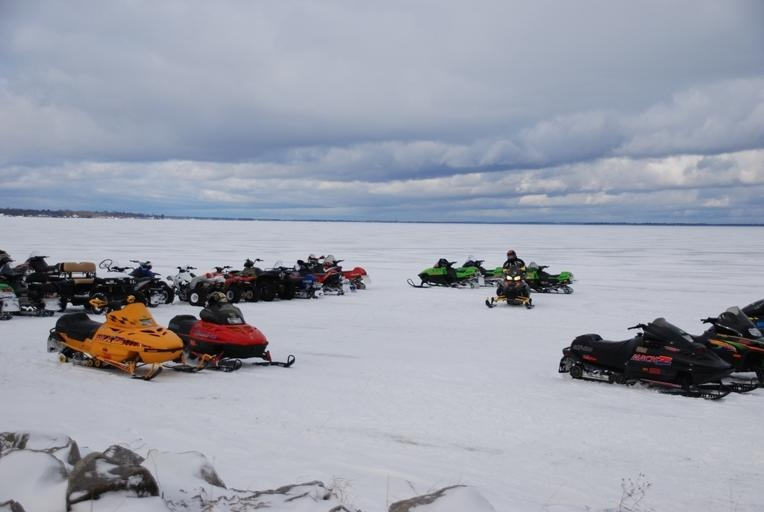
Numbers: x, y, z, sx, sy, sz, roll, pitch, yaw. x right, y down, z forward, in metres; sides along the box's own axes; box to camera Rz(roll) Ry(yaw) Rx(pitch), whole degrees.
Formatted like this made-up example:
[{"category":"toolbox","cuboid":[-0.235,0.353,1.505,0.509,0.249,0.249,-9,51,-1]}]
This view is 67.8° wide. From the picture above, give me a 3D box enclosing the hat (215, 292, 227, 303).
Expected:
[{"category":"hat","cuboid":[-4.245,1.047,14.786,0.358,0.292,0.249,-7,28,-11]}]
